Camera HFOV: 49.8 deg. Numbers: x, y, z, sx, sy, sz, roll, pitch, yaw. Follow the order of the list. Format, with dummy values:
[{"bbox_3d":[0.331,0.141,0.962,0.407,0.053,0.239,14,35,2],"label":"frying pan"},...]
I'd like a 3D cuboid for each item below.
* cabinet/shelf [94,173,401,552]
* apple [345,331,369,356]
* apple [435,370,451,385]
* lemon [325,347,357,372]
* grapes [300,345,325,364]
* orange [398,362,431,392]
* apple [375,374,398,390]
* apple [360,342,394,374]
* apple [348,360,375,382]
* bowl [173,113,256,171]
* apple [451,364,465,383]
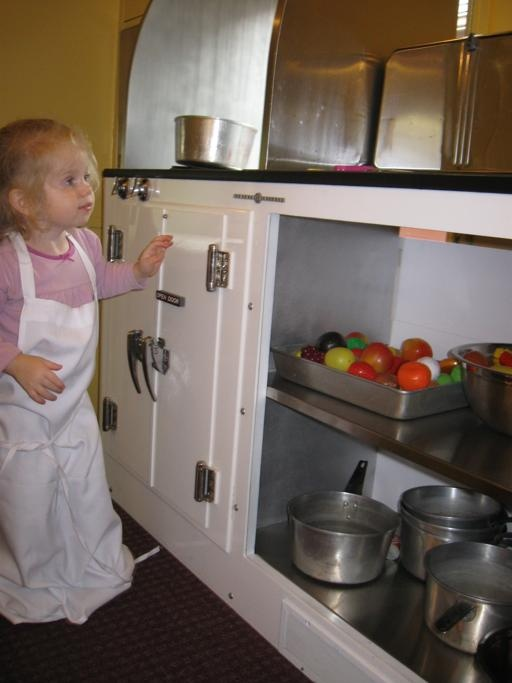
[{"bbox_3d":[-0.079,0.004,1.515,0.580,0.846,0.626,-6,19,-40],"label":"cabinet/shelf"},{"bbox_3d":[0.232,0.008,1.262,0.049,0.051,0.025,19,19,34],"label":"apple"},{"bbox_3d":[0.372,0.073,1.108,0.024,0.026,0.029,-1,21,-32],"label":"apple"},{"bbox_3d":[0.170,0.034,1.113,0.051,0.052,0.049,5,8,21],"label":"lemon"},{"bbox_3d":[0.111,0.021,1.137,0.032,0.018,0.044,12,21,10],"label":"grapes"},{"bbox_3d":[0.282,0.067,0.990,0.060,0.046,0.104,7,11,16],"label":"orange"},{"bbox_3d":[0.248,0.074,1.009,0.023,0.019,0.031,0,10,1],"label":"apple"},{"bbox_3d":[0.254,0.035,1.184,0.061,0.072,0.056,3,-9,-26],"label":"apple"},{"bbox_3d":[0.203,0.051,1.069,0.036,0.038,0.037,-9,28,-31],"label":"apple"},{"bbox_3d":[-0.104,-0.464,1.301,0.199,0.127,0.208,4,10,-1],"label":"bowl"},{"bbox_3d":[0.387,0.061,1.054,0.024,0.030,0.025,-11,53,-3],"label":"apple"}]
